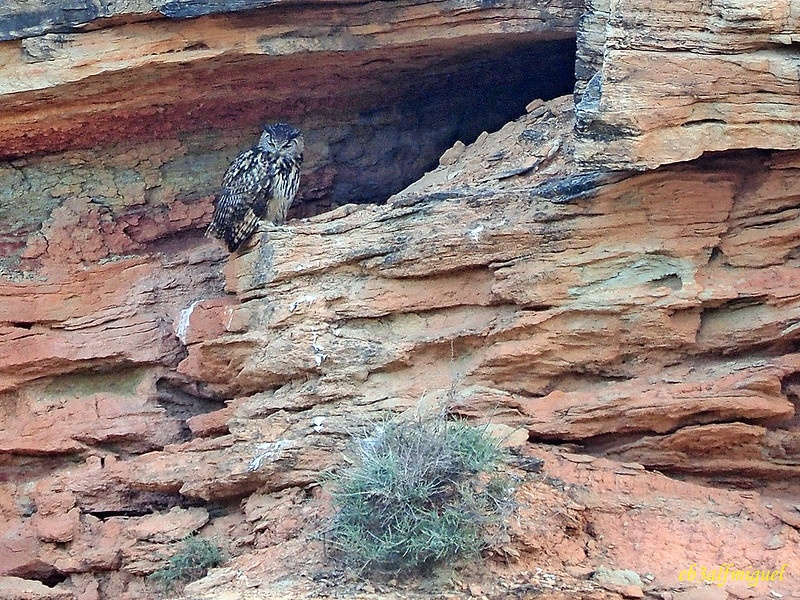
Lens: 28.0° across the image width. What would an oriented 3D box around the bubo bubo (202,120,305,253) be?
[{"bbox_3d":[-1.098,-0.844,12.027,0.954,0.550,0.904,-12,49,-2],"label":"bubo bubo"}]
